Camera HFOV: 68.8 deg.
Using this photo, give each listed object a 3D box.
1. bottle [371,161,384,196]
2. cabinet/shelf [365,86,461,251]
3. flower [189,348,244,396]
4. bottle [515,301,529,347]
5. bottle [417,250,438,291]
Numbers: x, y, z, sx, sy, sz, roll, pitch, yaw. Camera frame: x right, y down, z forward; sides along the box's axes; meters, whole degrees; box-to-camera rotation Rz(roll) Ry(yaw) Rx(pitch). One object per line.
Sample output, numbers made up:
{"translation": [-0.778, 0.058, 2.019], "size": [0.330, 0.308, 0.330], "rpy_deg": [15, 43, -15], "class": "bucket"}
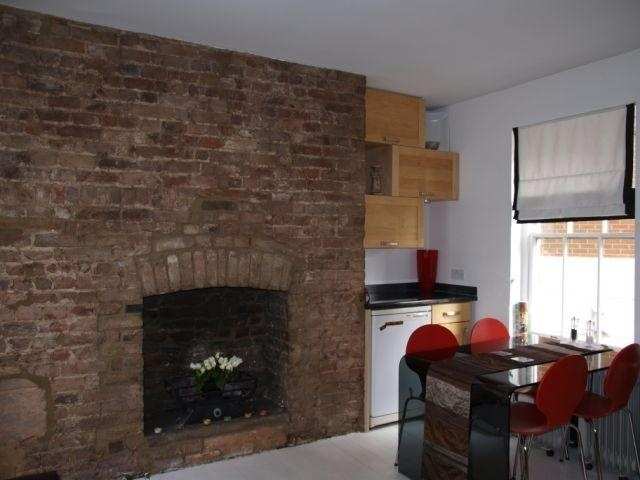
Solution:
{"translation": [0.554, -0.596, 4.606], "size": [0.112, 0.295, 0.082], "rpy_deg": [0, -1, 5], "class": "bottle"}
{"translation": [0.913, -0.742, 4.685], "size": [1.468, 1.549, 0.512], "rpy_deg": [-1, 1, -35], "class": "cabinet/shelf"}
{"translation": [-0.913, 1.134, 4.021], "size": [0.383, 0.289, 0.353], "rpy_deg": [-2, 3, -7], "class": "flower"}
{"translation": [1.961, 0.778, 4.531], "size": [0.115, 0.364, 0.041], "rpy_deg": [0, -1, 3], "class": "bottle"}
{"translation": [1.166, 0.336, 5.087], "size": [0.215, 0.453, 0.129], "rpy_deg": [-1, -1, 9], "class": "bottle"}
